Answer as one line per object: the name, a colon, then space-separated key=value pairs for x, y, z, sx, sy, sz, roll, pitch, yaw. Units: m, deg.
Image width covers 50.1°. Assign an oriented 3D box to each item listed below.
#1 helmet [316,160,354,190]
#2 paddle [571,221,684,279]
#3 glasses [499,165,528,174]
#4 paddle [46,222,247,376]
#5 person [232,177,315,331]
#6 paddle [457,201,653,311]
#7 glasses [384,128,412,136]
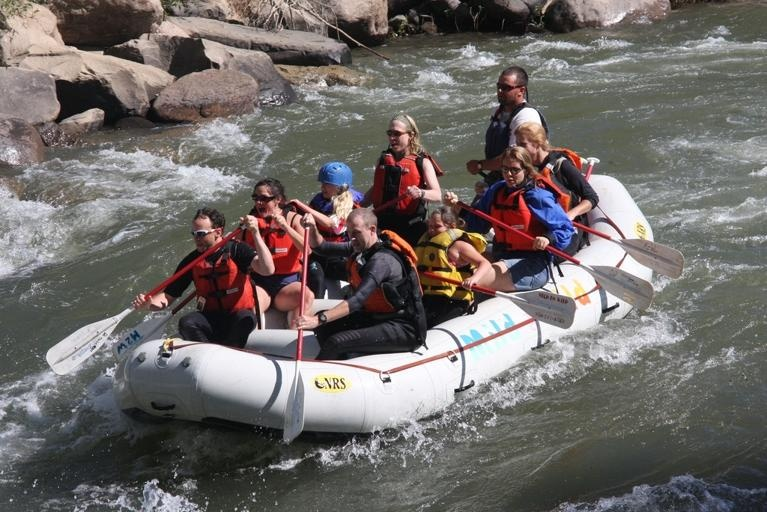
helmet: x=-0.545 y=-0.974 z=9.918 sx=0.413 sy=0.288 sz=0.296 roll=20 pitch=-2 yaw=-23
paddle: x=3.022 y=-0.170 z=10.385 sx=0.468 sy=0.084 sz=1.874 roll=30 pitch=-4 yaw=-35
glasses: x=1.520 y=-0.993 z=9.443 sx=0.259 sy=0.101 sz=0.086 roll=-4 pitch=27 yaw=7
paddle: x=-2.936 y=0.591 z=10.097 sx=3.228 sy=0.118 sz=0.448 roll=-33 pitch=49 yaw=-2
person: x=-1.298 y=0.075 z=9.463 sx=1.150 sy=1.731 sz=1.067 roll=0 pitch=3 yaw=-8
paddle: x=1.991 y=0.053 z=9.783 sx=2.782 sy=0.361 sz=0.216 roll=27 pitch=5 yaw=18
glasses: x=0.176 y=-1.494 z=9.931 sx=0.279 sy=0.107 sz=0.113 roll=-2 pitch=27 yaw=13
